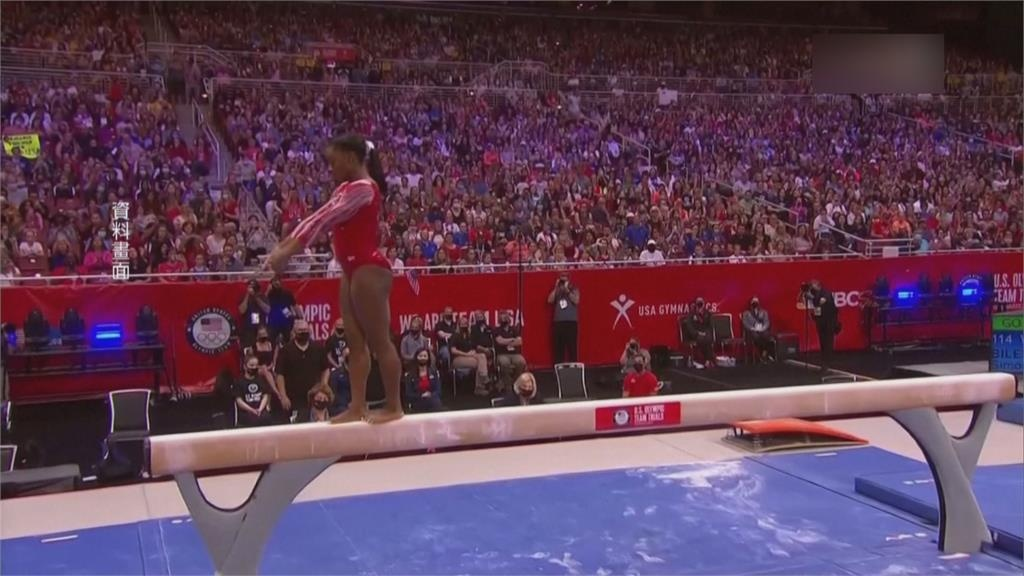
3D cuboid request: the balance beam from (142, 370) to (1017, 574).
[{"bbox_3d":[1.026,3.039,12.204,12.079,2.798,0.468,-3,10,-6],"label":"balance beam"}]
